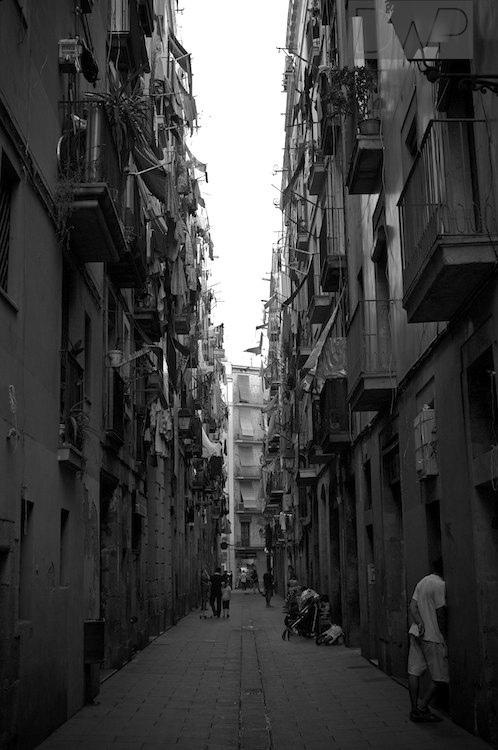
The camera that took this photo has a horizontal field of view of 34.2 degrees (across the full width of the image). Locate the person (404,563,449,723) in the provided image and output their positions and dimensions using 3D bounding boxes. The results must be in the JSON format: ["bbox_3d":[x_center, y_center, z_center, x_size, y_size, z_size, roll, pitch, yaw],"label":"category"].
[{"bbox_3d":[1.738,2.524,7.962,0.429,1.669,1.575,-5,-20,11],"label":"person"}]
